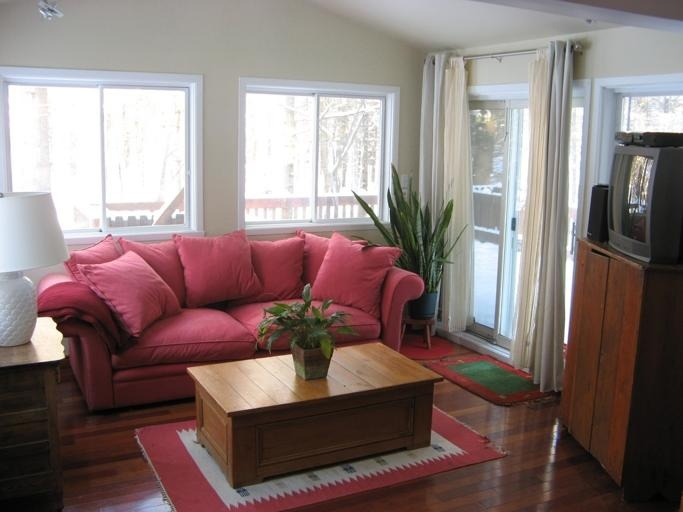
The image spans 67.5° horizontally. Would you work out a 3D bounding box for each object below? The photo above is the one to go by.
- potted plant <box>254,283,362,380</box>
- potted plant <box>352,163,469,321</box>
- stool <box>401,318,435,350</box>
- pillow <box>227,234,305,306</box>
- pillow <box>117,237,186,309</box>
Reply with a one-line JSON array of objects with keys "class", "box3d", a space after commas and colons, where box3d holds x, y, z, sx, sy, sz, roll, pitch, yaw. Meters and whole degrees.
[{"class": "potted plant", "box3d": [-0.129, 0.531, 3.369, 0.624, 0.529, 0.638, 1, -2, 21]}, {"class": "potted plant", "box3d": [0.685, -0.061, 5.203, 1.050, 1.281, 1.016, 9, -11, -26]}, {"class": "stool", "box3d": [0.784, 0.772, 5.266, 0.325, 0.237, 0.314, 2, 1, 6]}, {"class": "pillow", "box3d": [-0.711, 0.095, 4.806, 0.941, 0.776, 0.468, -4, 12, -16]}, {"class": "pillow", "box3d": [-1.529, 0.150, 4.114, 0.281, 0.529, 0.573, 3, 6, 34]}]
